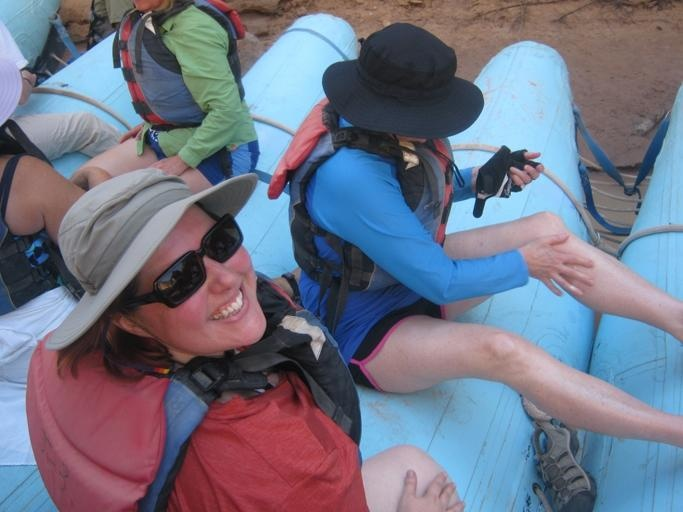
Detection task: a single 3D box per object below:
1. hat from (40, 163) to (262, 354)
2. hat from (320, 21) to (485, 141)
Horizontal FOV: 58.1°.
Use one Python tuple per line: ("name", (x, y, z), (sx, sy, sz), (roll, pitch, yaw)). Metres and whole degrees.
("hat", (-0.514, -0.029, 1.815), (0.462, 0.193, 0.534), (-38, 11, 34))
("hat", (0.243, -0.631, 2.090), (0.428, 0.184, 0.446), (41, 56, 15))
